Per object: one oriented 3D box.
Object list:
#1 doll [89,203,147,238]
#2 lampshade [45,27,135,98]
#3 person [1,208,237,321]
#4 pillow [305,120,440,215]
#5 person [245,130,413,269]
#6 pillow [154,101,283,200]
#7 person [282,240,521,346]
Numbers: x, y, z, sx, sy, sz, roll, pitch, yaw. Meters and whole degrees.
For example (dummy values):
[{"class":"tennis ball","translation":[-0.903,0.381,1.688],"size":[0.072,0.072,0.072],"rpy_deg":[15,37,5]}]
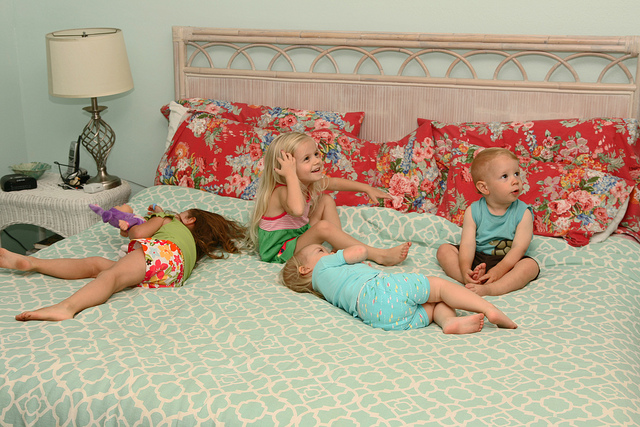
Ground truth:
[{"class":"doll","translation":[-0.971,0.026,1.999],"size":[0.246,0.082,0.186],"rpy_deg":[12,-6,-32]},{"class":"lampshade","translation":[-1.462,-0.961,2.653],"size":[0.510,0.348,0.515],"rpy_deg":[19,34,26]},{"class":"person","translation":[-0.799,0.135,1.838],"size":[0.922,0.339,0.441],"rpy_deg":[-3,3,-39]},{"class":"pillow","translation":[0.332,-0.236,2.332],"size":[0.844,0.492,0.424],"rpy_deg":[-1,18,4]},{"class":"person","translation":[0.039,-0.072,2.066],"size":[0.836,0.589,0.460],"rpy_deg":[2,23,23]},{"class":"pillow","translation":[-0.556,-0.360,2.600],"size":[0.870,0.530,0.224],"rpy_deg":[8,-11,23]},{"class":"person","translation":[0.282,0.253,1.678],"size":[0.973,0.313,0.310],"rpy_deg":[2,7,22]}]
